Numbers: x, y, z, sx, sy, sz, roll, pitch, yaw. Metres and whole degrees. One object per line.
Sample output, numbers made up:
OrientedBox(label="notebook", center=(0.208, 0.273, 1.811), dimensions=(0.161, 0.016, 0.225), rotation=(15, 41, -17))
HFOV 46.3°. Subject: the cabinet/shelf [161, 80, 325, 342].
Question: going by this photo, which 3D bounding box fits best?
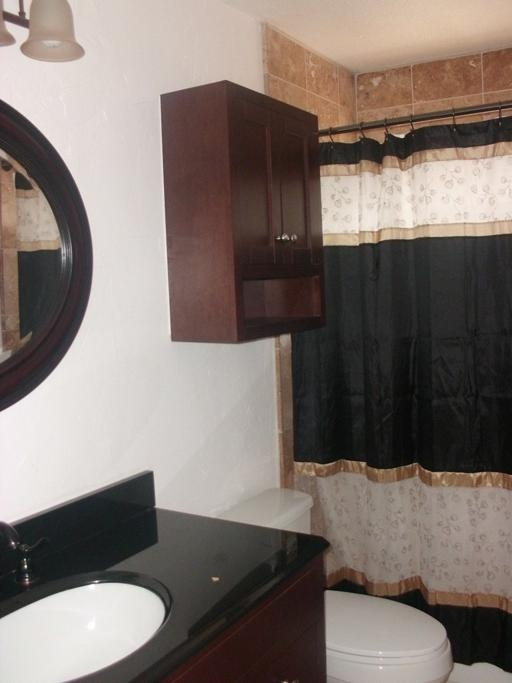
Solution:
OrientedBox(label="cabinet/shelf", center=(-0.013, -0.344, 1.749), dimensions=(0.257, 0.665, 0.496), rotation=(0, 4, 37))
